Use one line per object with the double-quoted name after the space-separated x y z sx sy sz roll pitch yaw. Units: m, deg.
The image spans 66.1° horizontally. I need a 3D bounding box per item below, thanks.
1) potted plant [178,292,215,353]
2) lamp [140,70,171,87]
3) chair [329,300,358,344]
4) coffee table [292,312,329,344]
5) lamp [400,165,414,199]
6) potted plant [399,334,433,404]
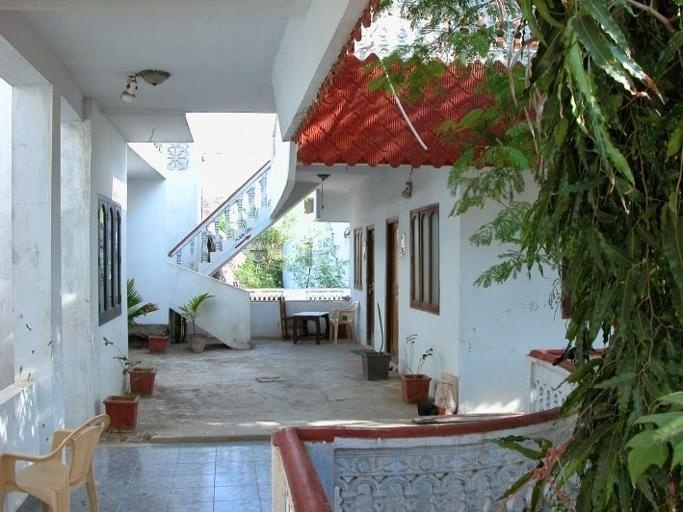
-3.568 1.552 12.833 0.709 1.382 1.205 0 0 -26 "potted plant"
-2.122 -2.041 5.977 0.354 0.088 0.318 0 0 -21 "lamp"
0.113 1.706 13.886 0.868 1.380 0.964 1 0 -11 "chair"
-0.820 1.877 13.781 0.782 0.805 0.824 0 7 6 "coffee table"
1.166 -1.228 8.935 0.196 0.529 0.752 0 0 9 "lamp"
1.239 1.761 8.636 0.486 0.891 1.590 0 0 6 "potted plant"
